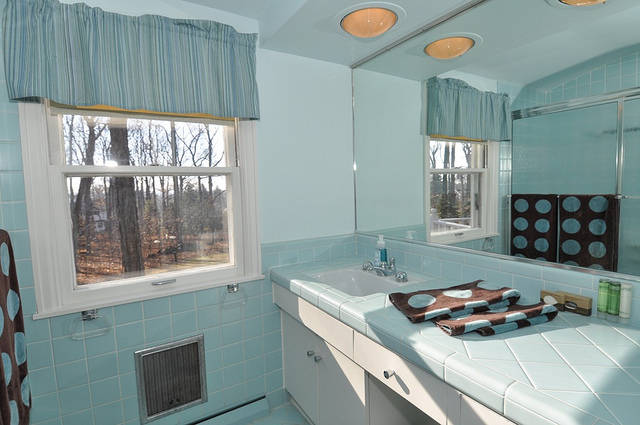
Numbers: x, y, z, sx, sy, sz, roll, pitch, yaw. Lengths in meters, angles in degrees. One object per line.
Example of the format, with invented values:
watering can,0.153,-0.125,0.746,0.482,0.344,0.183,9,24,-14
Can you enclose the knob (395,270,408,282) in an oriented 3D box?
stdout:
knob,0.514,0.414,2.786,0.063,0.054,0.060,3,-4,-5

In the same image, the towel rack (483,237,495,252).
towel rack,0.965,0.188,2.514,0.017,0.081,0.065,-9,8,-33

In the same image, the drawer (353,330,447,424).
drawer,0.388,0.781,2.071,0.392,0.090,0.406,16,-2,-38

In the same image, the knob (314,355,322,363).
knob,-0.018,0.895,2.660,0.044,0.040,0.088,-16,-14,-1

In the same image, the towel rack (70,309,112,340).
towel rack,-1.369,0.662,2.580,0.222,0.174,0.072,1,4,-37

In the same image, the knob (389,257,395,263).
knob,0.484,0.318,2.937,0.034,0.030,0.025,-2,3,-17

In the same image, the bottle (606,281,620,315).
bottle,1.416,0.421,2.118,0.050,0.152,0.021,0,8,31

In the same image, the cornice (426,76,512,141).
cornice,0.894,-0.630,2.632,0.544,0.348,0.064,2,5,-11

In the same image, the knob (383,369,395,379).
knob,0.332,0.796,2.140,0.026,0.035,0.050,-22,10,-40
